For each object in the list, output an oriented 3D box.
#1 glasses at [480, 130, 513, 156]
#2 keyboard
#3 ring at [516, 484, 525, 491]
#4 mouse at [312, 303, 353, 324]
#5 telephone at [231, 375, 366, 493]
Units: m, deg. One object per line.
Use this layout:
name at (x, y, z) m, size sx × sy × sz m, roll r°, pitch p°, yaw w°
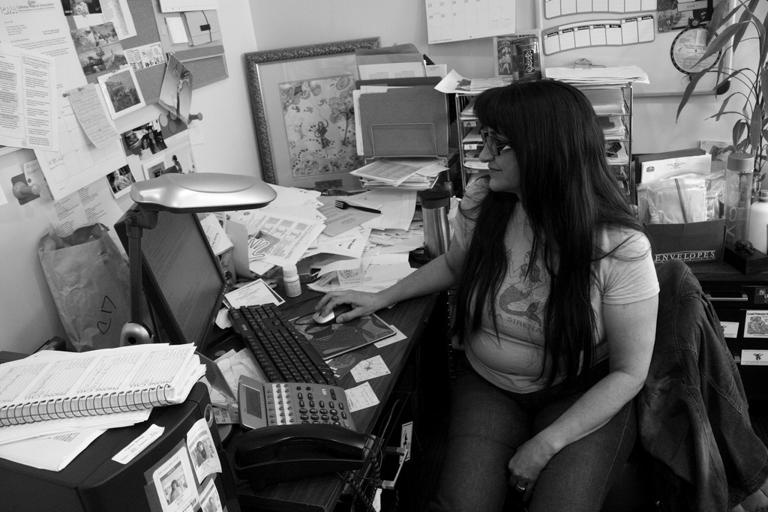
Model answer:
glasses at (0.322, -0.334, 1.549) m, size 0.086 × 0.031 × 0.069 m, roll 4°, pitch 20°, yaw -13°
keyboard at (-0.313, 0.306, 1.577) m, size 0.046 × 0.399 × 0.152 m, roll 30°, pitch 63°, yaw 37°
ring at (0.378, 0.644, 1.474) m, size 0.021 × 0.013 × 0.012 m, roll 21°, pitch 37°, yaw 1°
mouse at (-0.168, 0.185, 1.691) m, size 0.101 × 0.025 × 0.056 m, roll -29°, pitch 51°, yaw -36°
telephone at (-0.209, 0.409, 1.317) m, size 0.293 × 0.116 × 0.337 m, roll -2°, pitch 17°, yaw -11°
